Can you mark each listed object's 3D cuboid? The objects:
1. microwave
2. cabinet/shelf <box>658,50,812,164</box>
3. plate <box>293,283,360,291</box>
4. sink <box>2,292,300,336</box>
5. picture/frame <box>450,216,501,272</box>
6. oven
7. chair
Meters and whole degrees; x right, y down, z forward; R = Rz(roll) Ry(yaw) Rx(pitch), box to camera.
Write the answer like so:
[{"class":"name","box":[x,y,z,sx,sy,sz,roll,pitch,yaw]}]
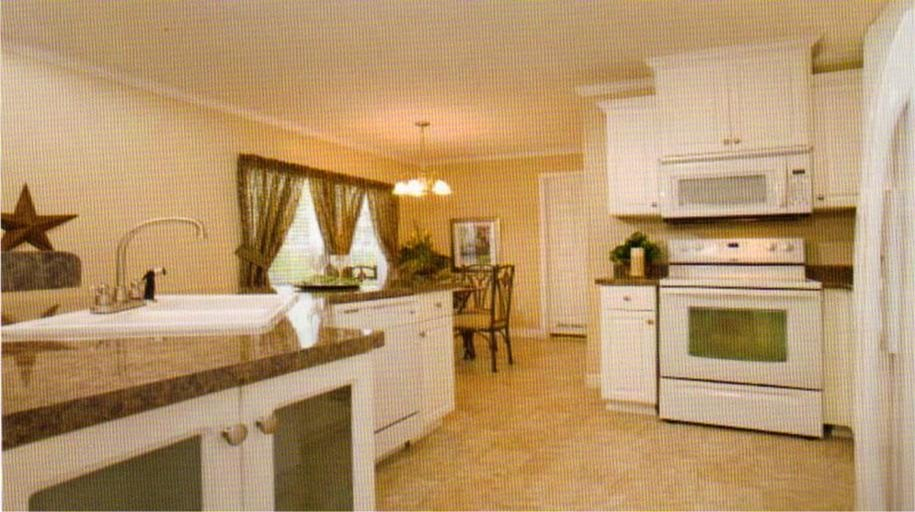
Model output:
[{"class":"microwave","box":[0.774,-0.156,2.236,0.362,0.163,0.207,-4,-13,20]},{"class":"cabinet/shelf","box":[0.678,-0.387,2.052,0.393,0.267,0.086,-1,2,4]},{"class":"plate","box":[-0.324,0.080,2.078,0.128,0.022,0.128,-3,3,-36]},{"class":"sink","box":[-0.805,0.159,2.091,0.761,0.112,0.160,-1,2,-2]},{"class":"picture/frame","box":[0.044,-0.021,2.050,0.132,0.122,0.008,-1,-2,-27]},{"class":"oven","box":[0.778,0.300,2.480,0.513,0.430,0.401,4,-7,-9]},{"class":"chair","box":[0.073,0.154,2.060,0.134,0.269,0.160,-2,2,-17]}]
